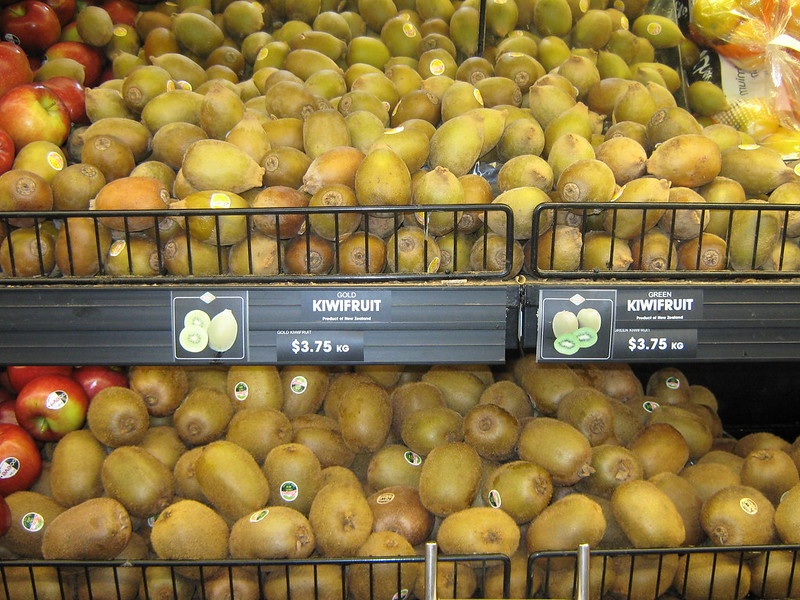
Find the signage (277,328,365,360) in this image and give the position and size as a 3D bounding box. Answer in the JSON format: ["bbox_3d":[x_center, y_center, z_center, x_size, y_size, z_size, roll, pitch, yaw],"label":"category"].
[{"bbox_3d":[-0.176,0.107,1.672,0.187,0.065,0.021,-1,6,6],"label":"signage"}]

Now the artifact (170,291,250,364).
[{"bbox_3d":[-0.423,0.061,1.711,0.157,0.160,0.038,0,3,-2],"label":"artifact"}]
